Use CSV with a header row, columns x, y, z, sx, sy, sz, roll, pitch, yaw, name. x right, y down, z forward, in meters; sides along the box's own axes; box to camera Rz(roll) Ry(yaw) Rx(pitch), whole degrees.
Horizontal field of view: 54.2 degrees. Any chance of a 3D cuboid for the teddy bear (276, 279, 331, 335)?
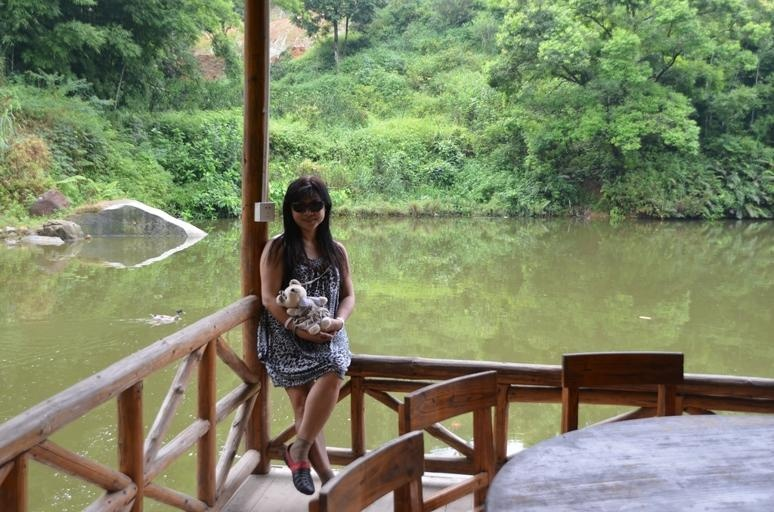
x,y,z,sx,sy,sz,roll,pitch,yaw,name
-0.778,0.473,6.787,0.295,0.387,0.258,-55,23,-11,teddy bear
